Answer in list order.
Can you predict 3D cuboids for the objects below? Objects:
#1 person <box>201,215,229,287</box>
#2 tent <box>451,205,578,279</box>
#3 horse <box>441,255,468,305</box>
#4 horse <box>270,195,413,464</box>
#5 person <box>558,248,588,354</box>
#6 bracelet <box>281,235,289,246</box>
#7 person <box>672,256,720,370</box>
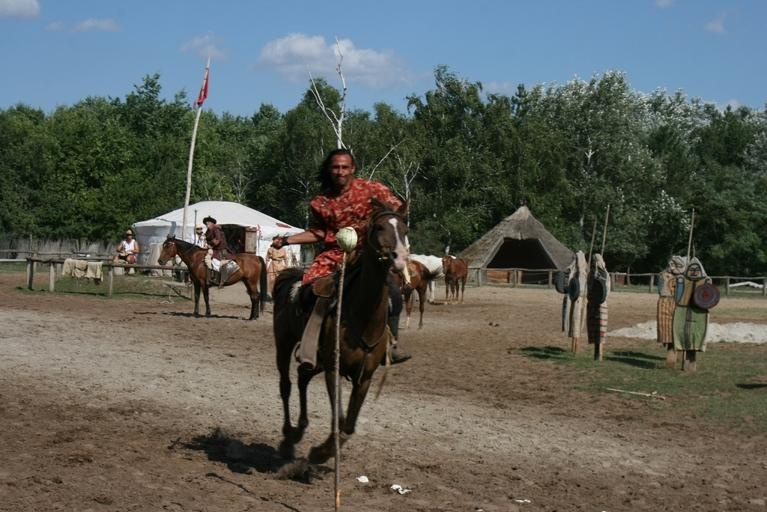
[{"bbox_3d":[-5.107,-0.098,21.777,0.762,1.828,0.802,3,1,-24],"label":"person"},{"bbox_3d":[8.881,-0.814,47.917,6.240,4.977,7.265,3,0,16],"label":"tent"},{"bbox_3d":[3.101,0.997,31.825,1.077,1.959,3.382,3,0,5],"label":"horse"},{"bbox_3d":[-0.688,1.177,10.489,0.999,3.485,2.929,3,0,-31],"label":"horse"},{"bbox_3d":[4.730,1.174,17.802,0.599,2.578,0.844,3,1,-19],"label":"person"},{"bbox_3d":[-1.429,-0.225,10.471,0.121,0.121,0.111,0,2,17],"label":"bracelet"},{"bbox_3d":[6.909,1.283,16.039,0.858,2.658,0.866,3,1,24],"label":"person"}]
